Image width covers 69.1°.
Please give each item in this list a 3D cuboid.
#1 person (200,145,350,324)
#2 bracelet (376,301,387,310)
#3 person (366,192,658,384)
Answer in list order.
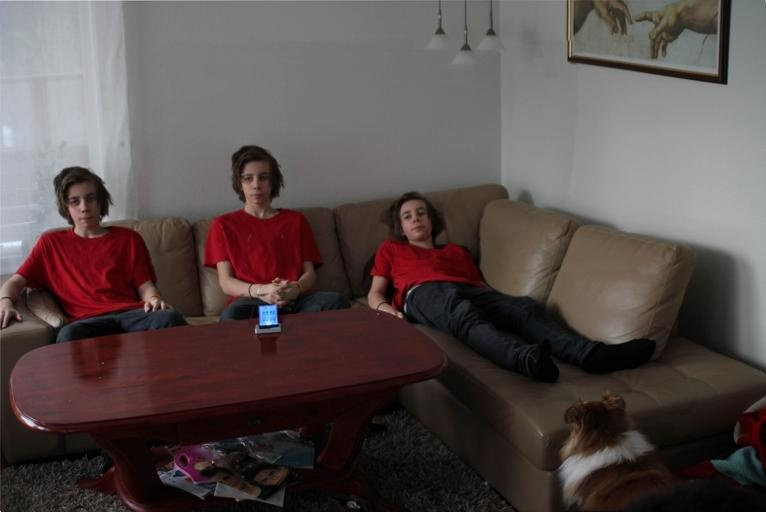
[{"bbox_3d":[-0.661,-0.115,3.221,0.767,1.033,0.783,-5,9,-25],"label":"person"},{"bbox_3d":[-0.005,0.279,3.159,0.028,0.058,0.067,-1,27,18],"label":"bracelet"},{"bbox_3d":[0.534,0.029,2.965,0.781,0.610,1.400,-1,14,-35],"label":"person"}]
